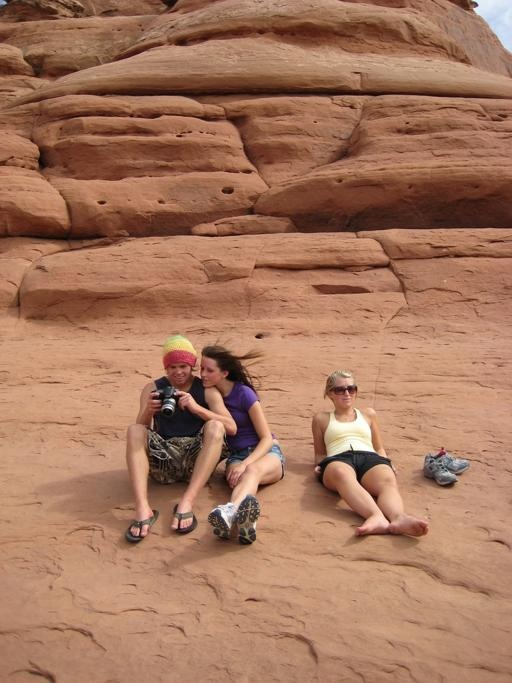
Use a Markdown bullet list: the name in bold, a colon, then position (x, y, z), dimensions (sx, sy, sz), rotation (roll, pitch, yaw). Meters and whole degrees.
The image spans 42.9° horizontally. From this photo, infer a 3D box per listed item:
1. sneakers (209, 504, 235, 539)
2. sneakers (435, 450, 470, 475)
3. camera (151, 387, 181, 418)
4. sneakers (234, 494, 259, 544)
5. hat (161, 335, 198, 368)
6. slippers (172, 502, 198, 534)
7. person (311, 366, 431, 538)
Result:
- **sneakers**: position (-0.165, 0.927, 3.341), dimensions (0.105, 0.198, 0.148), rotation (6, 16, 19)
- **sneakers**: position (1.247, 0.804, 4.405), dimensions (0.285, 0.125, 0.109), rotation (5, 54, 51)
- **camera**: position (-0.510, 0.340, 3.767), dimensions (0.168, 0.089, 0.153), rotation (3, 43, -11)
- **sneakers**: position (-0.056, 0.886, 3.323), dimensions (0.125, 0.251, 0.128), rotation (4, 5, -4)
- **hat**: position (-0.459, 0.060, 3.913), dimensions (0.190, 0.175, 0.213), rotation (-3, -4, -5)
- **slippers**: position (-0.385, 0.972, 3.501), dimensions (0.131, 0.100, 0.099), rotation (-1, 14, -4)
- **person**: position (0.623, 0.725, 3.760), dimensions (0.417, 0.479, 1.024), rotation (-2, 7, -5)
